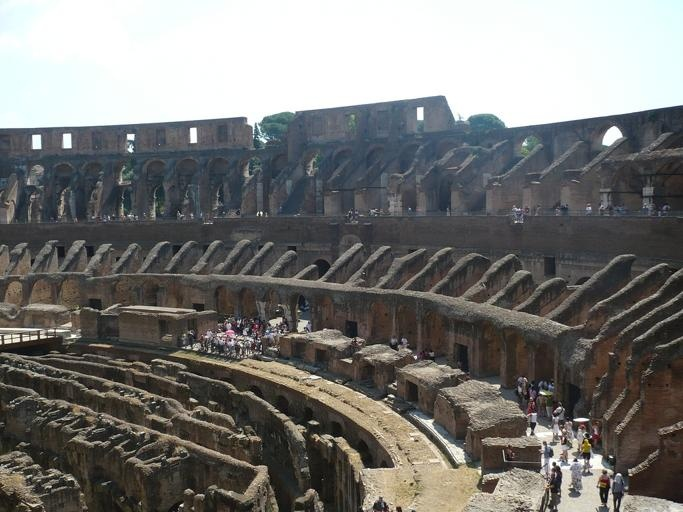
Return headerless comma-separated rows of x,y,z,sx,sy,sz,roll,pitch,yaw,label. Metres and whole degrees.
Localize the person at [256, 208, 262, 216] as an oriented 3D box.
-5.933,-3.159,57.774,0.693,0.183,0.767,-15,31,-17,person
